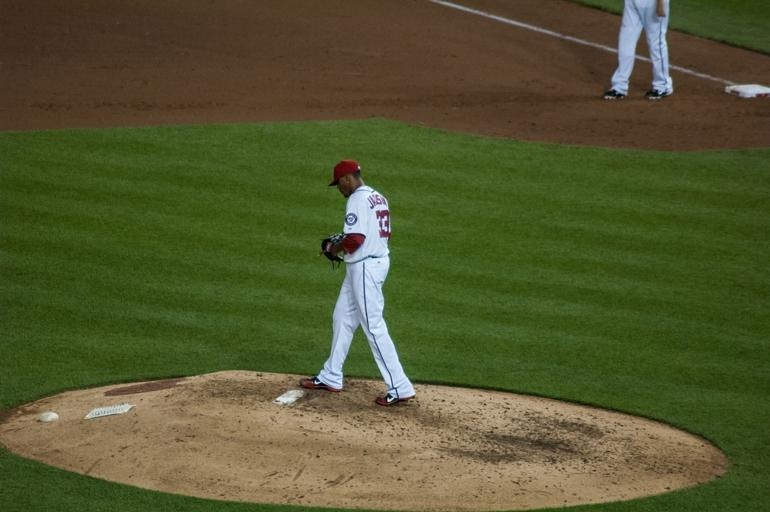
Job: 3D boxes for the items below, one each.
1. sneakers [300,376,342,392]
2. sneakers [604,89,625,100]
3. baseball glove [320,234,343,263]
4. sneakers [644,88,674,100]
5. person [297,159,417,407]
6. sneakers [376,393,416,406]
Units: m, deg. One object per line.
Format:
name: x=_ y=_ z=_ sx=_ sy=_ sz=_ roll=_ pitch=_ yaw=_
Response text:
sneakers: x=-0.869 y=1.758 z=18.876 sx=0.545 sy=0.191 sz=0.210 roll=11 pitch=5 yaw=8
sneakers: x=4.082 y=-2.902 z=24.756 sx=0.402 sy=0.144 sz=0.163 roll=0 pitch=12 yaw=6
baseball glove: x=-0.739 y=-0.103 z=18.884 sx=0.307 sy=0.401 sz=0.192 roll=4 pitch=0 yaw=11
sneakers: x=4.877 y=-2.905 z=24.707 sx=0.510 sy=0.195 sz=0.180 roll=-5 pitch=35 yaw=5
person: x=-0.316 y=0.364 z=18.661 sx=1.398 sy=3.268 sz=0.658 roll=5 pitch=10 yaw=18
sneakers: x=0.134 y=1.951 z=18.643 sx=0.513 sy=0.132 sz=0.193 roll=0 pitch=5 yaw=-10
